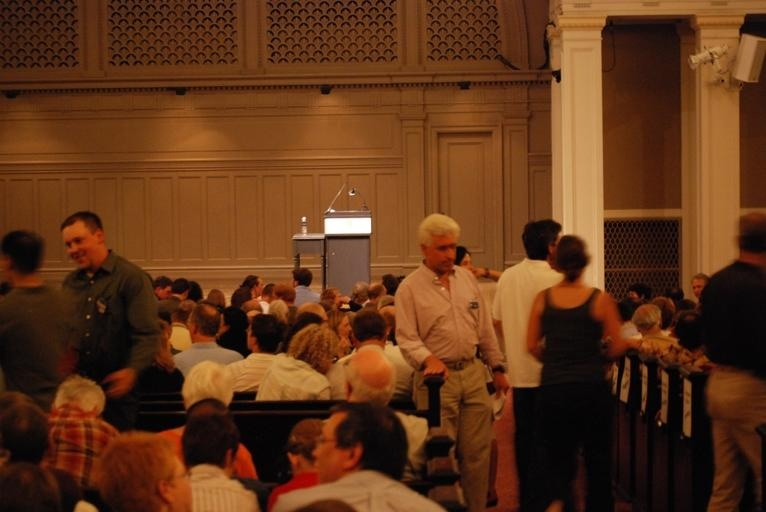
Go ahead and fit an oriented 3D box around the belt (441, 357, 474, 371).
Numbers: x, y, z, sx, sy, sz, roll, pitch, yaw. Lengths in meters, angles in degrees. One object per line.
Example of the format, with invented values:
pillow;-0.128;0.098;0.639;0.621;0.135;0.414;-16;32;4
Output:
belt;0.522;0.748;5.302;0.213;0.079;0.045;0;1;-21

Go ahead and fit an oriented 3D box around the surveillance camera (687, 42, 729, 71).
surveillance camera;4.247;-2.649;10.213;0.402;0.199;0.309;-13;19;-14

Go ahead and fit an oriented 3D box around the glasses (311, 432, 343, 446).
glasses;-0.272;0.910;3.813;0.118;0.040;0.120;-2;-3;-3

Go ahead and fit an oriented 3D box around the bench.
bench;-0.733;1.277;5.266;2.554;0.581;1.060;0;1;38
